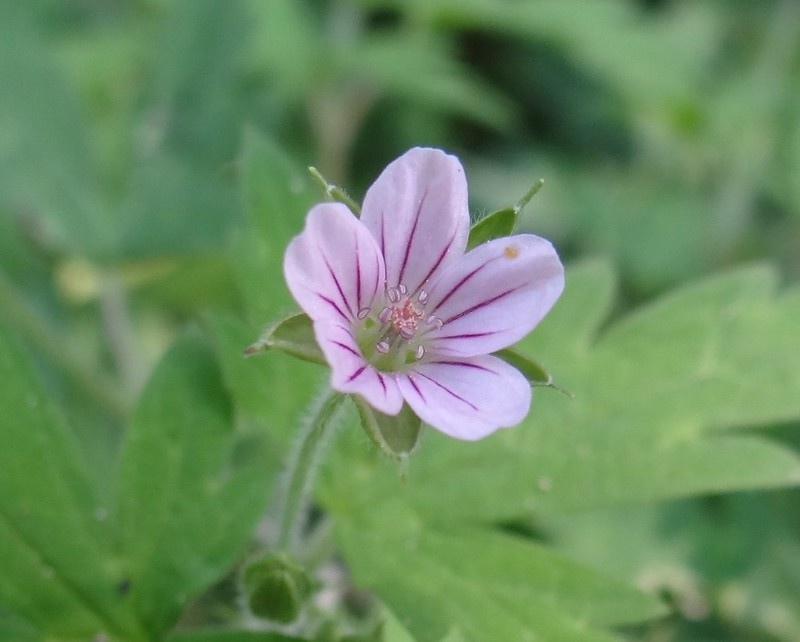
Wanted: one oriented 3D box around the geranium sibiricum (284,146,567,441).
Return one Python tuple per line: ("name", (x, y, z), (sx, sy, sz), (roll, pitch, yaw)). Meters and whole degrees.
("geranium sibiricum", (0.068, -0.043, 2.182), (0.601, 0.526, 0.648), (14, 45, 22))
